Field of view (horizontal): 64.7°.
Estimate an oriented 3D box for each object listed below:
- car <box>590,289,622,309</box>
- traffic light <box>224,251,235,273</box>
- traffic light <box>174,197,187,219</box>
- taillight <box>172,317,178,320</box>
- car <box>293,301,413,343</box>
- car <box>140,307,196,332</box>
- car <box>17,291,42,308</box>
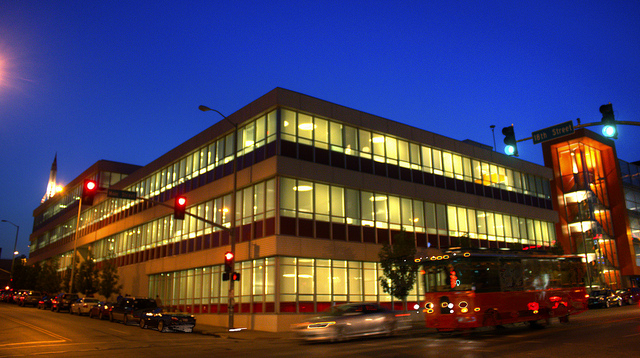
[{"bbox_3d":[34.578,14.552,61.502,4.342,2.089,0.916,7,-25,-19],"label":"car"},{"bbox_3d":[-8.560,7.940,47.916,0.662,1.804,0.973,3,-24,-8],"label":"traffic light"},{"bbox_3d":[-12.262,2.537,44.494,0.770,1.913,0.711,4,-25,-11],"label":"traffic light"},{"bbox_3d":[-13.712,13.253,48.052,0.478,0.239,0.043,7,-25,-18],"label":"taillight"},{"bbox_3d":[2.730,12.050,42.094,8.143,2.078,3.710,5,-16,-27],"label":"car"},{"bbox_3d":[-14.743,13.606,48.973,5.152,2.373,1.737,-11,-26,24],"label":"car"},{"bbox_3d":[-44.170,18.257,77.346,4.271,2.503,1.978,-21,-30,39],"label":"car"}]
